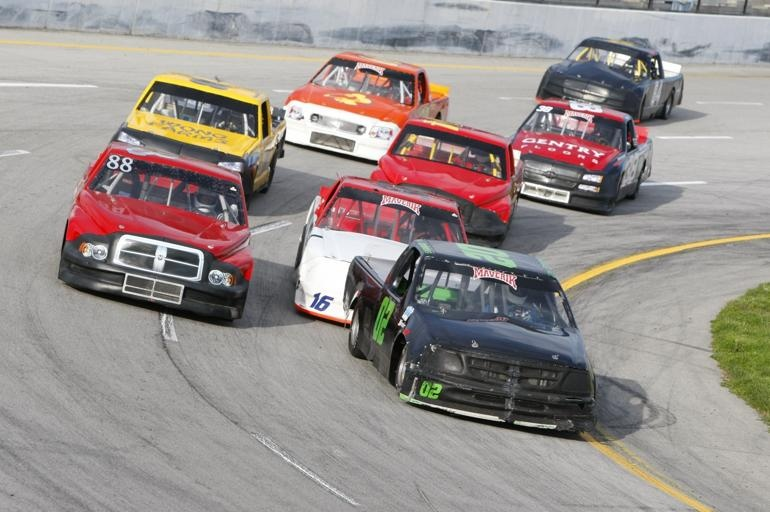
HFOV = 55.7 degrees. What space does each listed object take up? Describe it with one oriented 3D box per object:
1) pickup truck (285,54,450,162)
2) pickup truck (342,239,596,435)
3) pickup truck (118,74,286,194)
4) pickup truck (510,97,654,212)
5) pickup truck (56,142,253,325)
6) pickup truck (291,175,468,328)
[{"bbox_3d":[-0.341,-4.284,19.909,3.193,1.726,4.888,17,28,13],"label":"pickup truck"},{"bbox_3d":[1.102,0.722,10.219,2.961,1.444,4.313,10,11,-6],"label":"pickup truck"},{"bbox_3d":[-3.744,-2.735,15.397,2.988,1.690,4.535,15,22,-5],"label":"pickup truck"},{"bbox_3d":[5.042,-2.888,19.190,3.182,1.689,5.021,18,25,21],"label":"pickup truck"},{"bbox_3d":[-3.435,-0.880,11.070,2.584,1.277,3.736,14,26,-24],"label":"pickup truck"},{"bbox_3d":[-0.312,-0.215,11.509,2.054,1.055,2.969,15,10,-10],"label":"pickup truck"}]
